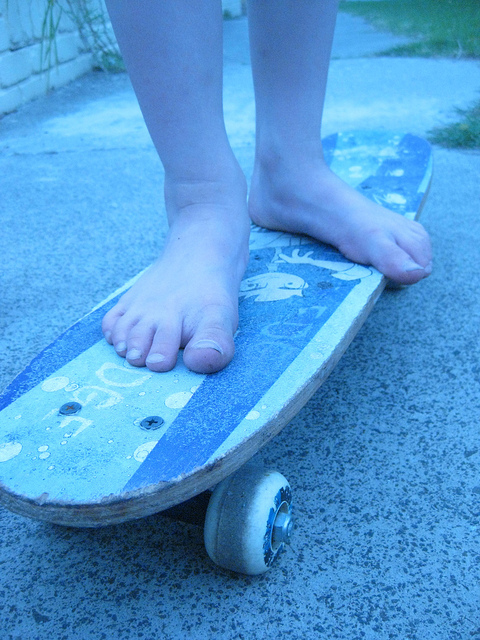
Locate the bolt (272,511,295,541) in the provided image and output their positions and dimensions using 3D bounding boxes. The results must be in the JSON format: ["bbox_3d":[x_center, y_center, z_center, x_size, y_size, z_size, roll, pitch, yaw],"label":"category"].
[{"bbox_3d":[0.050,0.238,0.699,0.020,0.028,0.028,5,28,18],"label":"bolt"}]

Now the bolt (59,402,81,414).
[{"bbox_3d":[-0.196,0.102,0.704,0.014,0.003,0.013,8,27,15],"label":"bolt"}]

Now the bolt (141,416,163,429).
[{"bbox_3d":[-0.096,0.113,0.669,0.021,0.002,0.020,-22,30,-36],"label":"bolt"}]
